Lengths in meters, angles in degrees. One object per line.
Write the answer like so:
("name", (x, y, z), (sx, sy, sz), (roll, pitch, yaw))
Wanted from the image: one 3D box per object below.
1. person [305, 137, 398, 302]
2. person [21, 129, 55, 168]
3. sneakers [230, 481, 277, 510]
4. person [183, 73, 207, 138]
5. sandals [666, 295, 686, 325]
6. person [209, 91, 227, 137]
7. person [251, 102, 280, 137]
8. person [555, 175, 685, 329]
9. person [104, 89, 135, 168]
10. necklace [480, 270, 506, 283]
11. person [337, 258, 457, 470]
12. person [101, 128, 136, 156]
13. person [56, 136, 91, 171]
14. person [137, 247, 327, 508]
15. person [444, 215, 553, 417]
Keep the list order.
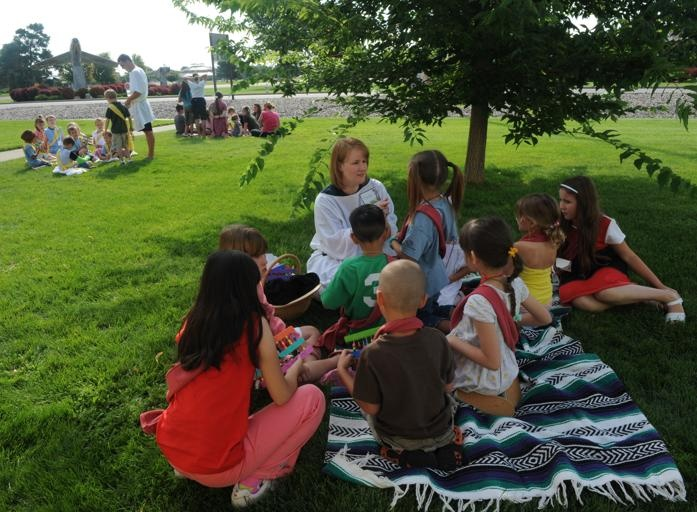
("person", (0.019, -0.455, 5.386), (1.167, 1.479, 0.946), (-15, 25, -35))
("person", (-7.236, -2.489, 11.836), (0.724, 0.874, 0.641), (-16, 35, -38))
("sneakers", (-0.647, 1.576, 3.379), (0.250, 0.110, 0.133), (-18, 51, -22))
("person", (-4.932, -4.927, 16.611), (0.611, 1.914, 0.697), (-9, 19, -15))
("sandals", (3.057, 0.519, 4.766), (0.103, 0.256, 0.143), (20, -13, -8))
("person", (-4.286, -4.601, 16.694), (0.645, 1.505, 0.535), (4, 36, -10))
("person", (-2.564, -4.351, 16.301), (0.709, 1.021, 0.984), (14, 14, 37))
("person", (2.580, -0.105, 4.918), (1.020, 1.260, 0.498), (4, 20, 22))
("person", (-5.326, -2.997, 11.704), (0.378, 1.546, 0.602), (19, 28, 33))
("necklace", (1.117, 0.162, 3.928), (0.106, 0.085, 0.140), (-8, -4, -15))
("person", (0.378, 0.748, 3.504), (0.809, 1.380, 0.389), (0, 18, 10))
("person", (-5.725, -2.859, 12.439), (0.606, 0.964, 0.316), (-2, -10, 13))
("person", (-6.189, -2.256, 11.255), (0.732, 0.774, 0.616), (20, 24, 21))
("person", (-0.813, 0.930, 3.659), (1.101, 1.417, 0.847), (20, 26, 24))
("person", (1.180, 0.509, 4.058), (0.926, 1.554, 0.967), (3, 14, 14))
